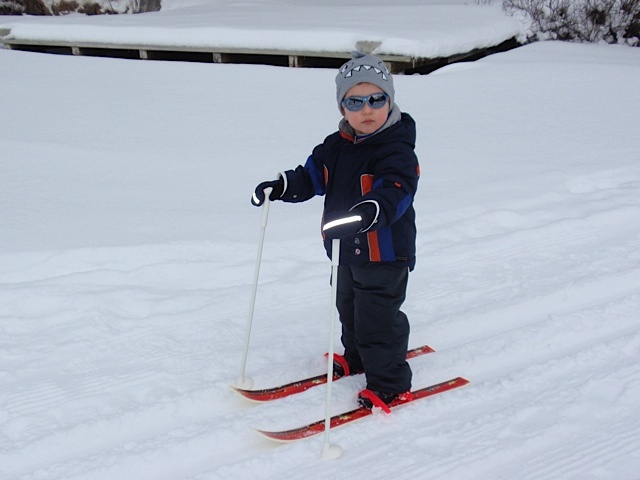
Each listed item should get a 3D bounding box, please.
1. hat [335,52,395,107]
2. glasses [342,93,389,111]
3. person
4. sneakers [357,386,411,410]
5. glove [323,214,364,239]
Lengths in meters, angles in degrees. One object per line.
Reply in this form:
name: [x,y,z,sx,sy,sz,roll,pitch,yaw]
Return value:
hat: [0.249,-0.896,2.896,0.270,0.271,0.342,-6,17,1]
glasses: [0.255,-0.738,2.750,0.221,0.095,0.072,2,25,8]
person: [0.206,-0.034,2.917,0.802,1.901,0.874,-10,26,-16]
sneakers: [0.366,0.911,2.954,0.199,0.069,0.138,3,3,-7]
glove: [0.116,-0.052,2.502,0.193,0.132,0.063,-1,25,1]
